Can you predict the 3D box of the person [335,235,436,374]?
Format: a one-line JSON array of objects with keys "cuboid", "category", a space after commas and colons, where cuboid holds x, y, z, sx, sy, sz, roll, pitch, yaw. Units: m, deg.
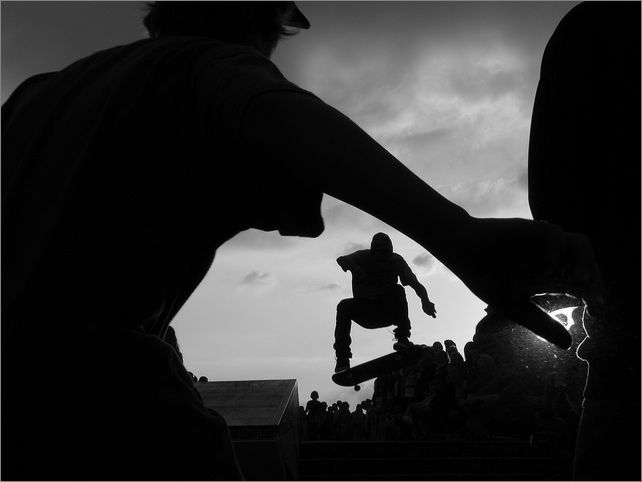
[{"cuboid": [0.694, 0.676, 7.445, 1.246, 1.911, 0.854, 5, -45, 1], "category": "person"}]
